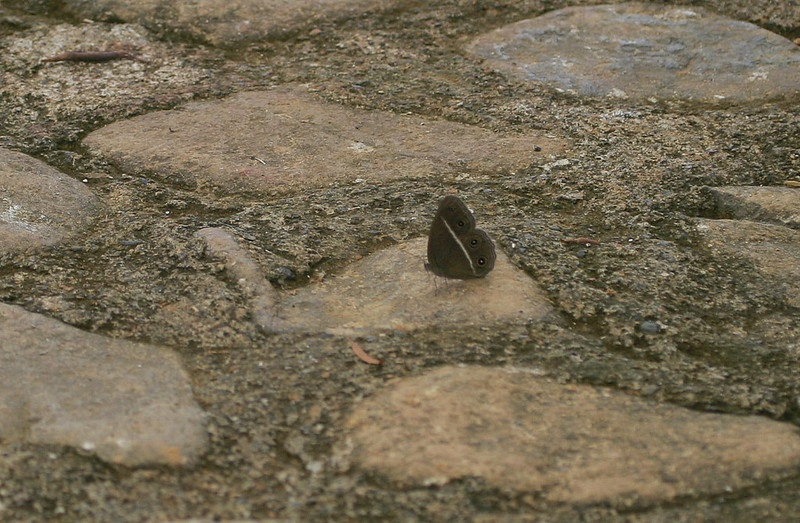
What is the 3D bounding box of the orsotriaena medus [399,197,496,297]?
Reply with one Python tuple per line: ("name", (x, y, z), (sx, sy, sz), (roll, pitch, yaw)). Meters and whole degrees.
("orsotriaena medus", (0.375, -0.129, 6.843), (0.391, 0.515, 0.294), (10, 53, 13))
